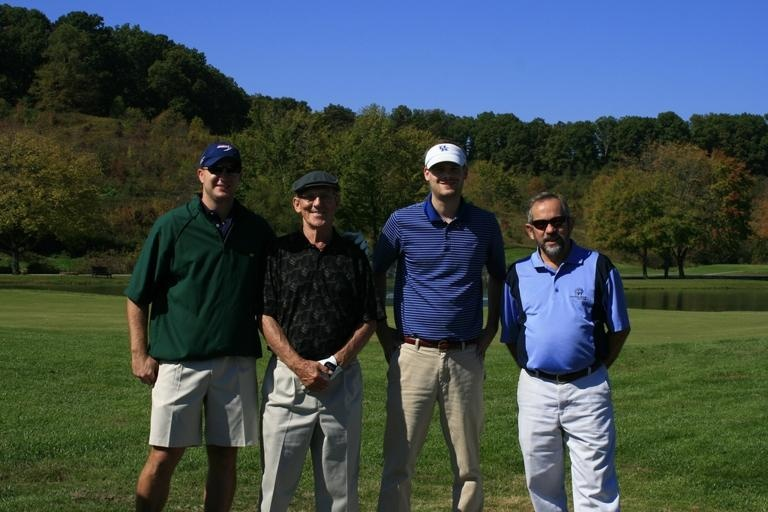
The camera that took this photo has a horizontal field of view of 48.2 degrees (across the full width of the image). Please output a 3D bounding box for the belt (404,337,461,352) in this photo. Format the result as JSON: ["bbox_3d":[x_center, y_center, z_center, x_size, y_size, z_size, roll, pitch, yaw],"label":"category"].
[{"bbox_3d":[0.857,1.531,14.747,1.008,0.226,0.077,2,0,6],"label":"belt"}]

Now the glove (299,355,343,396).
[{"bbox_3d":[-0.899,1.924,14.035,0.565,0.606,0.236,22,4,-4],"label":"glove"}]
